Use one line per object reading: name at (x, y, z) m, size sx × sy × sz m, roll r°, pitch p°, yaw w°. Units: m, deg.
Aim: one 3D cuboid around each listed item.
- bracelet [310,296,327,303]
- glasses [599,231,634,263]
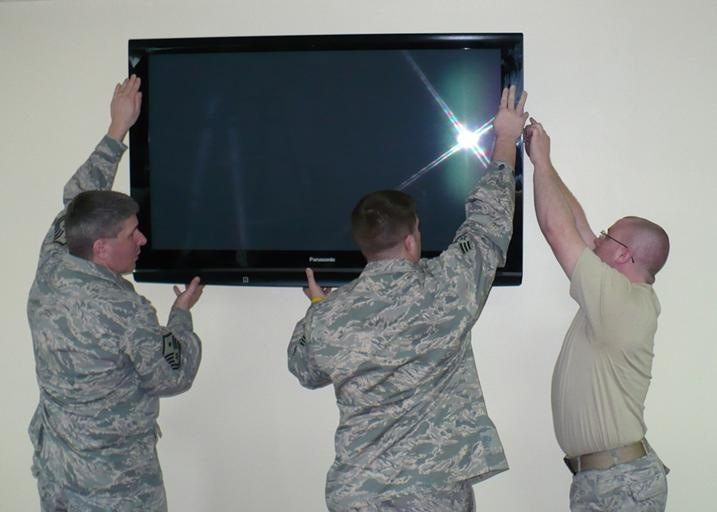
bracelet at (-0.206, 0.212, 4.066) m, size 0.036 × 0.030 × 0.039 m, roll -1°, pitch -1°, yaw 14°
glasses at (1.216, -0.030, 3.903) m, size 0.040 × 0.135 × 0.133 m, roll -47°, pitch 2°, yaw -8°
